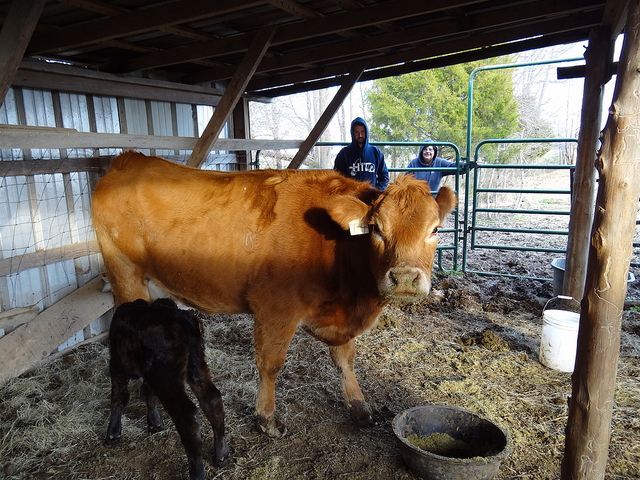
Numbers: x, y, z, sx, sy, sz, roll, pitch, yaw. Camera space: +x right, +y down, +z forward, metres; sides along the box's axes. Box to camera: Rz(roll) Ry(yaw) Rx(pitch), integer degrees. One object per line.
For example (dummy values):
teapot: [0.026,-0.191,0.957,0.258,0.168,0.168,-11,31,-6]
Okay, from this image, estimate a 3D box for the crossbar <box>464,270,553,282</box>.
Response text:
crossbar: [3.054,0.582,7.153,1.496,0.060,0.058,5,-6,37]

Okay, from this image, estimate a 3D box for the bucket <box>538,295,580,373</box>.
bucket: [2.590,0.948,4.708,0.393,0.758,0.425,1,10,0]

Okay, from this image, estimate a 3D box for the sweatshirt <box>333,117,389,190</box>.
sweatshirt: [0.607,-1.106,6.366,0.749,1.368,0.405,-2,27,3]

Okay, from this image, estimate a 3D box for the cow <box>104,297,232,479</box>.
cow: [-1.523,0.985,3.427,0.622,1.556,1.828,1,1,-43]

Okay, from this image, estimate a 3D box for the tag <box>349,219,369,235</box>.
tag: [0.296,-0.101,3.437,0.115,0.120,0.033,-2,8,-7]

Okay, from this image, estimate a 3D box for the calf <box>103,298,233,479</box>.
calf: [-1.232,1.192,3.597,1.059,1.262,0.512,10,13,31]
